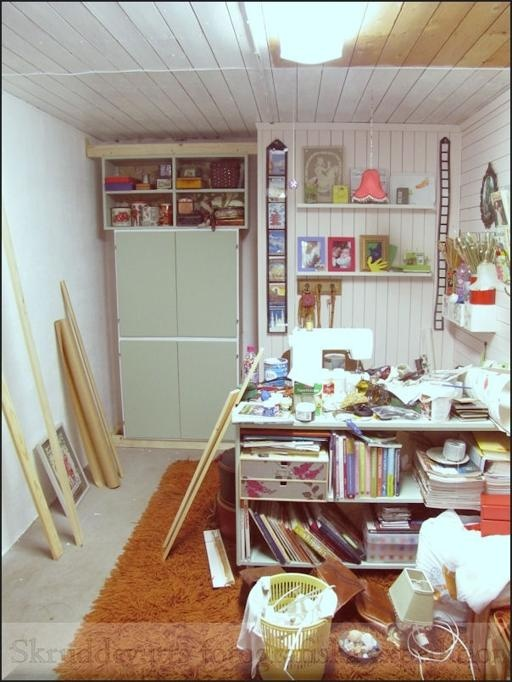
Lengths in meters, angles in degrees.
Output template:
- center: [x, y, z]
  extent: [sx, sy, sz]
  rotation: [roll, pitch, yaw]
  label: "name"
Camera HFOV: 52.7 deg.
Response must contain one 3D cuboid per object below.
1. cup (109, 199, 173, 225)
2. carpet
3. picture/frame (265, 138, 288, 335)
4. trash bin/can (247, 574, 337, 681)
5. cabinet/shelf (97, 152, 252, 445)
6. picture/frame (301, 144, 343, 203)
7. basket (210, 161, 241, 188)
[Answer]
- center: [-0.903, -1.000, 4.095]
  extent: [0.523, 0.198, 0.168]
  rotation: [0, 11, 12]
  label: "cup"
- center: [0.043, 1.100, 2.612]
  extent: [1.535, 0.110, 1.486]
  rotation: [-2, 10, 4]
  label: "carpet"
- center: [0.150, -0.727, 3.760]
  extent: [0.191, 1.386, 0.081]
  rotation: [-2, 11, 0]
  label: "picture/frame"
- center: [0.119, 1.076, 1.934]
  extent: [0.354, 0.316, 0.292]
  rotation: [-5, 14, -17]
  label: "trash bin/can"
- center: [-0.592, -0.368, 4.210]
  extent: [1.235, 2.346, 0.489]
  rotation: [-1, 11, 9]
  label: "cabinet/shelf"
- center: [0.477, -1.210, 3.669]
  extent: [0.410, 0.560, 0.035]
  rotation: [0, 4, -1]
  label: "picture/frame"
- center: [-0.244, -1.271, 4.035]
  extent: [0.225, 0.208, 0.205]
  rotation: [0, -2, -2]
  label: "basket"
